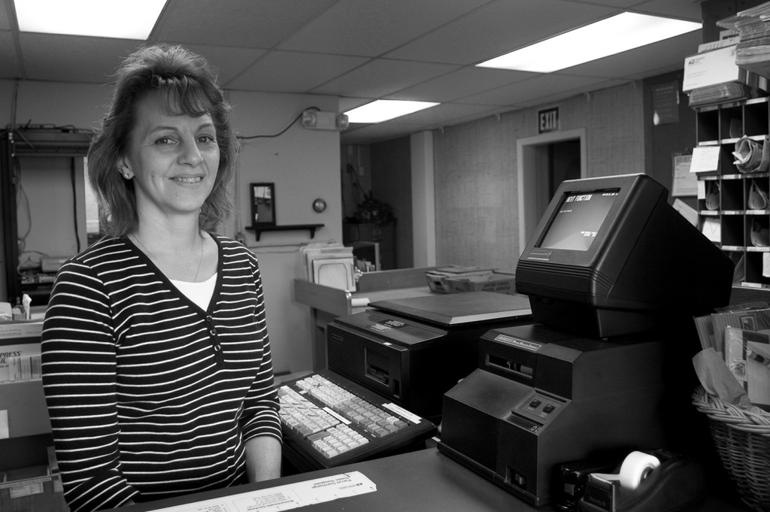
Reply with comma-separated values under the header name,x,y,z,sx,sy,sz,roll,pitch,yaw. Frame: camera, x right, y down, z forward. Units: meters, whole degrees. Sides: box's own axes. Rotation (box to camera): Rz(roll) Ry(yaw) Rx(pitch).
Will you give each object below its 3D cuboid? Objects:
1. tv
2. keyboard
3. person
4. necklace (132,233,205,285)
name,x,y,z,sx,sy,sz,roll,pitch,yaw
tv,0.630,-0.013,1.665,0.533,0.420,0.399,-4,1,-21
keyboard,-0.180,0.517,1.863,0.323,0.111,0.651,-10,11,-31
person,-0.617,0.036,1.590,0.551,1.161,0.316,-5,5,-31
necklace,-0.545,-0.003,1.573,0.126,0.162,0.064,-21,1,-20
